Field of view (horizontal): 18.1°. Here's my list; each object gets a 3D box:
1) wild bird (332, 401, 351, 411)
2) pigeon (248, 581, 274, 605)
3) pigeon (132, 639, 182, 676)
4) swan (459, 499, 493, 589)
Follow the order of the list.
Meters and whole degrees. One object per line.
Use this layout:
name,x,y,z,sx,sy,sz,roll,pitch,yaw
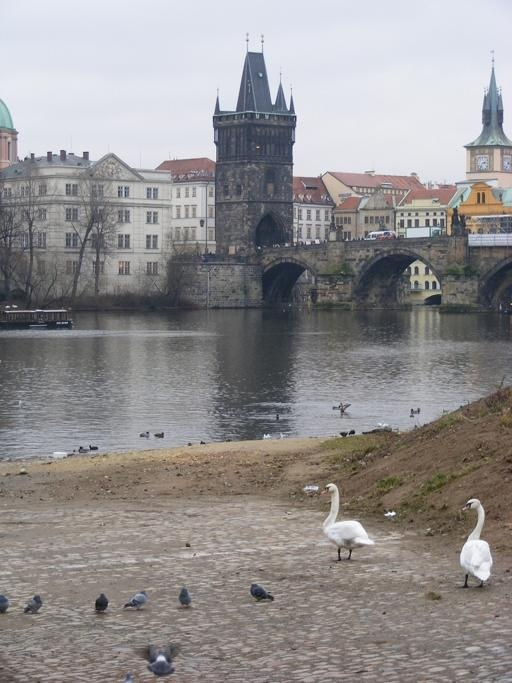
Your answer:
wild bird,2.164,1.711,41.146,0.272,0.243,0.145,-3,-33,-17
pigeon,0.042,3.008,18.958,0.306,0.261,0.193,-3,3,12
pigeon,-1.050,3.425,17.175,0.625,0.318,0.311,-28,10,-36
swan,2.724,2.520,19.871,0.379,1.042,2.269,1,0,9
